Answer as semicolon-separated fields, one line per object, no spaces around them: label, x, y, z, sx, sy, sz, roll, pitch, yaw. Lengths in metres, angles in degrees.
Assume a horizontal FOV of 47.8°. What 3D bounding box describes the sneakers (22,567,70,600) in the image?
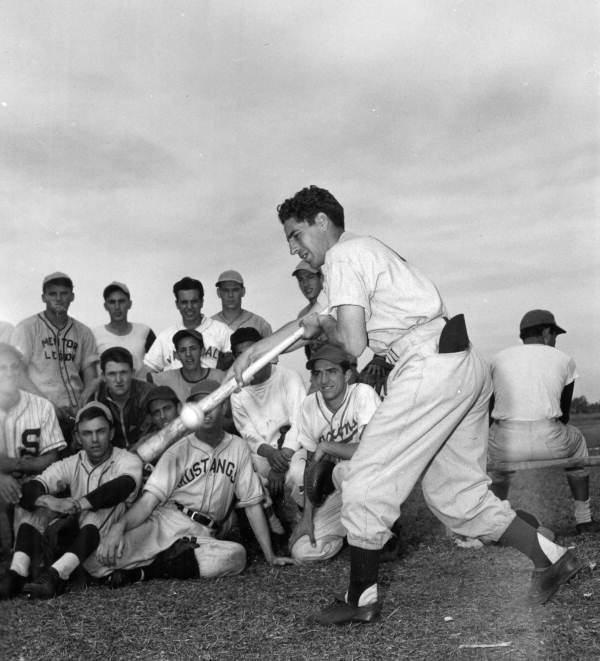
sneakers;-1.133;1.138;3.060;0.104;0.124;0.213;-9;-7;44

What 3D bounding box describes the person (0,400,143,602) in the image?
person;-1.121;0.809;3.397;0.686;0.625;0.977;7;17;11

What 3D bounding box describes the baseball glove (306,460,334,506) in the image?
baseball glove;0.110;0.849;3.795;0.105;0.233;0.204;14;9;21

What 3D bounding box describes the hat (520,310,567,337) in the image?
hat;1.425;-0.038;4.035;0.366;0.144;0.223;3;-4;-9

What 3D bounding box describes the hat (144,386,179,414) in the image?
hat;-0.823;0.407;4.029;0.165;0.090;0.186;-4;-11;0

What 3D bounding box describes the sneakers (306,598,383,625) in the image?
sneakers;0.172;1.040;2.519;0.285;0.086;0.088;0;-22;5

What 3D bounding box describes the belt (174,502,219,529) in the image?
belt;-0.552;0.963;3.646;0.187;0.046;0.170;15;-18;18

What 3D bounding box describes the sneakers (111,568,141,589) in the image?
sneakers;-0.862;1.202;3.316;0.074;0.077;0.174;-7;-6;31

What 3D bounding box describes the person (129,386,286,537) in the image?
person;-0.428;0.747;4.000;0.903;0.885;0.331;-1;-12;15

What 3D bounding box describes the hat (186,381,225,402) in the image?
hat;-0.540;0.353;3.736;0.201;0.116;0.250;-11;-12;10
